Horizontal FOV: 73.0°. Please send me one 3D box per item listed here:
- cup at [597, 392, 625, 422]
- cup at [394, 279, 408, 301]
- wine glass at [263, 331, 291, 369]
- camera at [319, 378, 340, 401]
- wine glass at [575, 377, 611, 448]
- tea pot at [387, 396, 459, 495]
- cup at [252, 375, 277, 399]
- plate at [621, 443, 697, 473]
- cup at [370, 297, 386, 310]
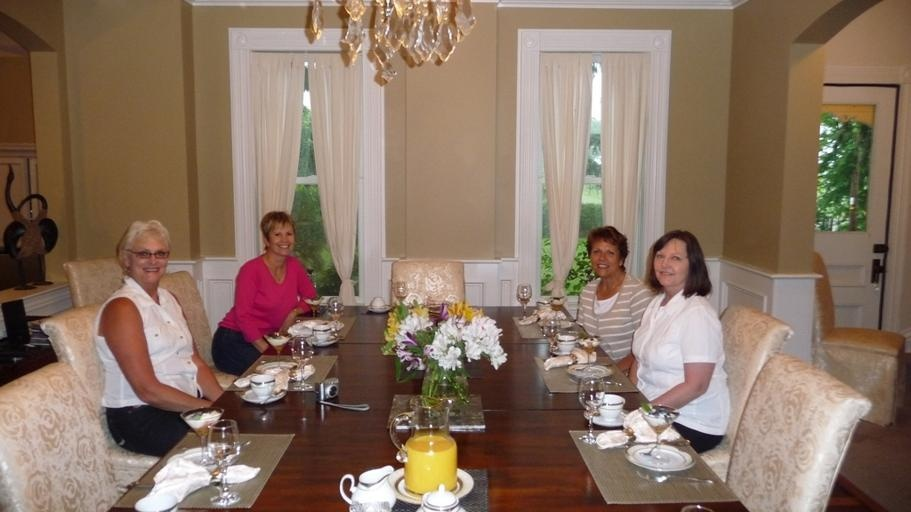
[{"bbox_3d":[0.916,0.892,3.603,0.164,0.102,0.159,2,-13,0],"label":"cup"},{"bbox_3d":[-0.486,0.287,5.081,0.155,0.164,0.164,0,-4,0],"label":"cup"},{"bbox_3d":[-1.272,0.660,4.283,0.238,0.256,0.242,1,-3,1],"label":"wine glass"},{"bbox_3d":[-0.792,0.840,3.837,0.074,0.116,0.136,0,-2,36],"label":"camera"},{"bbox_3d":[0.789,0.876,3.577,0.122,0.338,0.295,1,8,15],"label":"wine glass"},{"bbox_3d":[-0.146,1.004,3.255,0.342,0.434,0.582,-5,8,-25],"label":"tea pot"},{"bbox_3d":[-1.170,0.809,3.785,0.139,0.106,0.145,0,-12,0],"label":"cup"},{"bbox_3d":[1.110,1.104,3.364,0.351,0.093,0.176,-1,7,-2],"label":"plate"},{"bbox_3d":[-0.671,0.414,5.332,0.119,0.078,0.114,2,-4,0],"label":"cup"}]
